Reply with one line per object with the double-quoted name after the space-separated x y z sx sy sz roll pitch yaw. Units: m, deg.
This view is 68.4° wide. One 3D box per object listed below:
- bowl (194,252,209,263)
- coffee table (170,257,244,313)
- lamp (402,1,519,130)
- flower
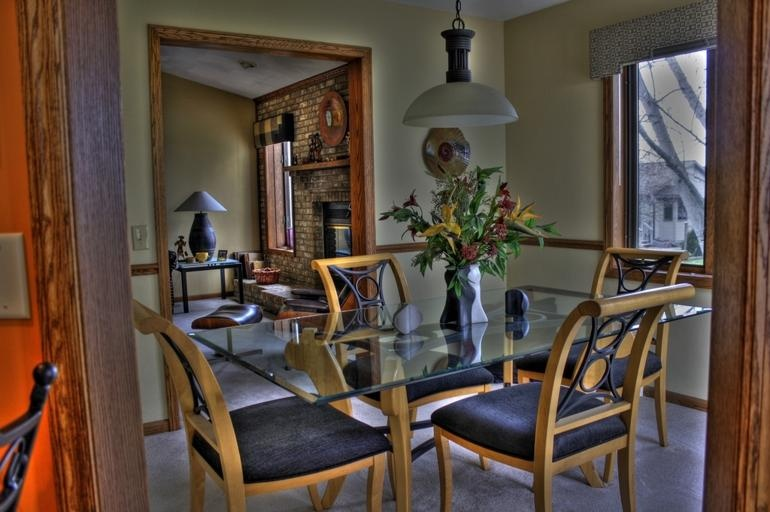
-2.382 0.022 7.379 0.151 0.104 0.116 0 3 -1 "bowl"
-2.320 0.350 7.564 0.834 0.601 0.784 -1 1 -31 "coffee table"
0.377 -1.015 2.893 0.558 0.657 0.565 -1 7 4 "lamp"
0.392 -0.150 2.886 1.047 0.701 0.969 -1 5 -10 "flower"
